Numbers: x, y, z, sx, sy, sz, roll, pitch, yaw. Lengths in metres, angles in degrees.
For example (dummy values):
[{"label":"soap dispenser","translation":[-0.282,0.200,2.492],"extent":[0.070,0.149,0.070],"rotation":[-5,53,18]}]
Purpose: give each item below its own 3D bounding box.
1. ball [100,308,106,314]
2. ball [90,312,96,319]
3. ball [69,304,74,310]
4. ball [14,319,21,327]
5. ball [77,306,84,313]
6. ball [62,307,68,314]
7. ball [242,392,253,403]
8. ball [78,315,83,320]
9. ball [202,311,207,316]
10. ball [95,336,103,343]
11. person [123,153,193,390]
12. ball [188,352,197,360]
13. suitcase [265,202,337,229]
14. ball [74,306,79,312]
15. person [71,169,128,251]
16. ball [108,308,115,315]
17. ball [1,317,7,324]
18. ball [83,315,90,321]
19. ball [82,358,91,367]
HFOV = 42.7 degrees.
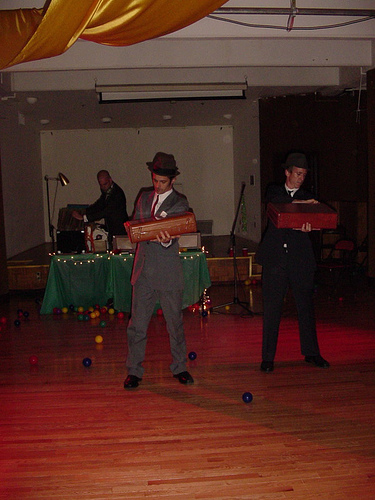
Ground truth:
[{"label":"ball","translation":[-0.980,0.703,5.561],"extent":[0.061,0.055,0.062],"rotation":[5,-8,1]},{"label":"ball","translation":[-1.058,0.730,5.427],"extent":[0.063,0.059,0.070],"rotation":[-15,22,6]},{"label":"ball","translation":[-1.373,0.674,5.690],"extent":[0.047,0.068,0.027],"rotation":[-3,6,-11]},{"label":"ball","translation":[-1.801,0.776,5.105],"extent":[0.062,0.056,0.070],"rotation":[-9,0,4]},{"label":"ball","translation":[-1.216,0.677,5.479],"extent":[0.049,0.046,0.055],"rotation":[21,3,6]},{"label":"ball","translation":[-1.448,0.708,5.663],"extent":[0.071,0.072,0.092],"rotation":[-3,5,-15]},{"label":"ball","translation":[0.360,0.882,2.883],"extent":[0.068,0.055,0.055],"rotation":[0,45,12]},{"label":"ball","translation":[-1.185,0.747,5.303],"extent":[0.050,0.047,0.056],"rotation":[-3,5,-13]},{"label":"ball","translation":[0.192,0.710,5.341],"extent":[0.033,0.050,0.066],"rotation":[2,6,39]},{"label":"ball","translation":[-0.808,0.811,4.363],"extent":[0.057,0.063,0.055],"rotation":[7,33,-4]},{"label":"person","translation":[-0.221,0.143,3.199],"extent":[0.503,1.556,0.552],"rotation":[-2,6,-1]},{"label":"ball","translation":[0.029,0.829,3.819],"extent":[0.055,0.051,0.062],"rotation":[27,7,-12]},{"label":"suitcase","translation":[0.752,-0.232,3.190],"extent":[0.424,0.183,0.376],"rotation":[-1,5,6]},{"label":"ball","translation":[-1.328,0.696,5.704],"extent":[0.056,0.063,0.057],"rotation":[0,28,0]},{"label":"person","translation":[-1.009,-0.495,5.924],"extent":[0.508,0.957,0.758],"rotation":[-2,5,-2]},{"label":"ball","translation":[-0.873,0.702,5.508],"extent":[0.049,0.055,0.050],"rotation":[1,12,0]},{"label":"ball","translation":[-2.008,0.764,5.239],"extent":[0.046,0.050,0.044],"rotation":[-1,-27,0]},{"label":"ball","translation":[-1.108,0.750,5.330],"extent":[0.055,0.059,0.052],"rotation":[-14,18,5]},{"label":"ball","translation":[-0.778,0.865,3.706],"extent":[0.061,0.064,0.085],"rotation":[-3,5,-12]}]
